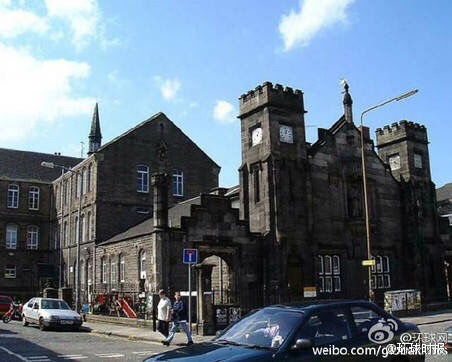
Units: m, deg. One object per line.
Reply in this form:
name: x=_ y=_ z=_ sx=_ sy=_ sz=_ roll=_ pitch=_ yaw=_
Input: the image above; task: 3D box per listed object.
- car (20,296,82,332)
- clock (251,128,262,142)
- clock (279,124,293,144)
car: x=-9.514 y=7.145 z=30.365 sx=1.857 sy=1.784 sz=4.364 roll=11 pitch=-20 yaw=-39
clock: x=1.908 y=-2.839 z=34.936 sx=0.053 sy=0.747 sz=0.729 roll=17 pitch=-32 yaw=-29
clock: x=3.689 y=-2.902 z=34.746 sx=1.090 sy=1.126 sz=0.093 roll=9 pitch=-19 yaw=-35
